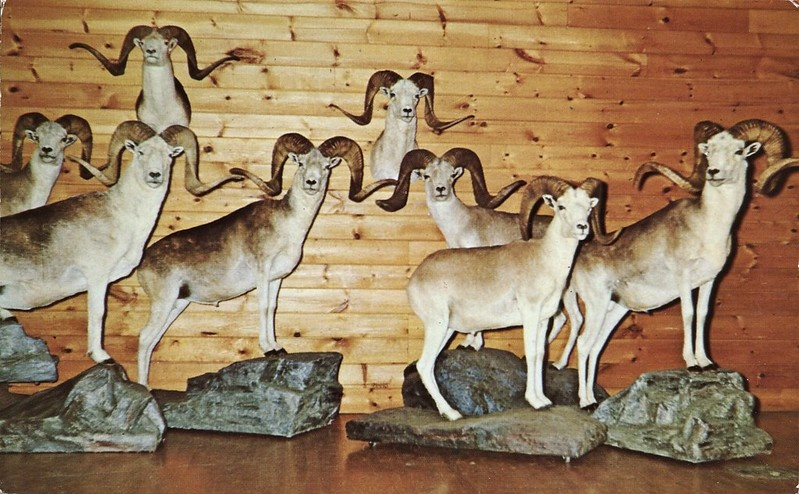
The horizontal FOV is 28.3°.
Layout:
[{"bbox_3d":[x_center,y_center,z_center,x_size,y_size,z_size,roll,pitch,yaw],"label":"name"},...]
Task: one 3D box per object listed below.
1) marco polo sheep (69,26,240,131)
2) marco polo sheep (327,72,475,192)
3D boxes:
[{"bbox_3d":[-2.780,-1.814,18.275,2.010,1.442,1.027,0,10,-10],"label":"marco polo sheep"},{"bbox_3d":[-0.016,-1.342,18.267,1.716,1.303,0.746,0,18,-14],"label":"marco polo sheep"}]
